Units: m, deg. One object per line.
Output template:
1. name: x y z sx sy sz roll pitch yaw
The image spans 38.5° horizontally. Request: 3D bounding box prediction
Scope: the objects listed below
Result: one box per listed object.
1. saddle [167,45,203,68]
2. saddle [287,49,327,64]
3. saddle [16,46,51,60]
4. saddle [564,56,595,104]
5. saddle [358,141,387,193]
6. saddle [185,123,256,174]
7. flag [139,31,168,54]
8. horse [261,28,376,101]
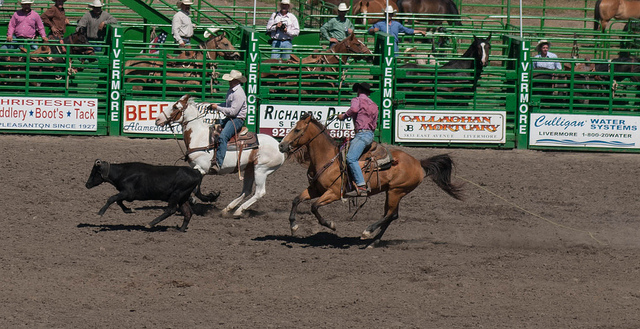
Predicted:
1. saddle: -4.623 -3.538 30.548 1.079 0.613 0.791 -1 6 -8
2. saddle: -0.446 -3.605 30.922 0.946 0.267 0.595 -4 3 -6
3. saddle: -9.749 -3.710 30.389 1.426 0.340 0.409 -2 18 -9
4. saddle: 9.041 -2.772 30.705 1.159 1.638 0.397 1 -10 5
5. saddle: 1.498 0.038 24.097 0.737 1.265 0.258 -4 8 -29
6. saddle: -2.733 -0.458 25.240 1.889 1.345 0.397 -2 7 -21
7. flag: -5.817 -4.257 31.972 0.444 0.507 1.713 24 23 -5
8. horse: -0.154 -3.285 30.650 3.588 2.277 0.970 0 7 -3
